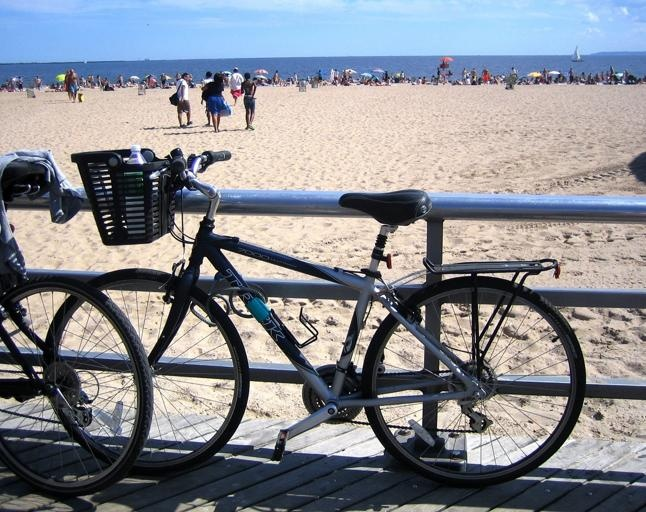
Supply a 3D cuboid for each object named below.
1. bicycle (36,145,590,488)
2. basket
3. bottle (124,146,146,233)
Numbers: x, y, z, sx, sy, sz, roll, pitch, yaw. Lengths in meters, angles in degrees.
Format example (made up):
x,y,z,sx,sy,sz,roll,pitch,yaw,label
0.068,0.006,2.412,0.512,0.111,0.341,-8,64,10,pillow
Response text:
x,y,z,sx,sy,sz,roll,pitch,yaw,label
-0.109,0.299,2.307,2.394,1.062,0.837,7,-17,-14,bicycle
-0.677,-0.214,2.140,0.356,0.257,0.362,4,9,16,basket
-0.668,-0.248,2.079,0.079,0.286,0.255,-5,24,-16,bottle
